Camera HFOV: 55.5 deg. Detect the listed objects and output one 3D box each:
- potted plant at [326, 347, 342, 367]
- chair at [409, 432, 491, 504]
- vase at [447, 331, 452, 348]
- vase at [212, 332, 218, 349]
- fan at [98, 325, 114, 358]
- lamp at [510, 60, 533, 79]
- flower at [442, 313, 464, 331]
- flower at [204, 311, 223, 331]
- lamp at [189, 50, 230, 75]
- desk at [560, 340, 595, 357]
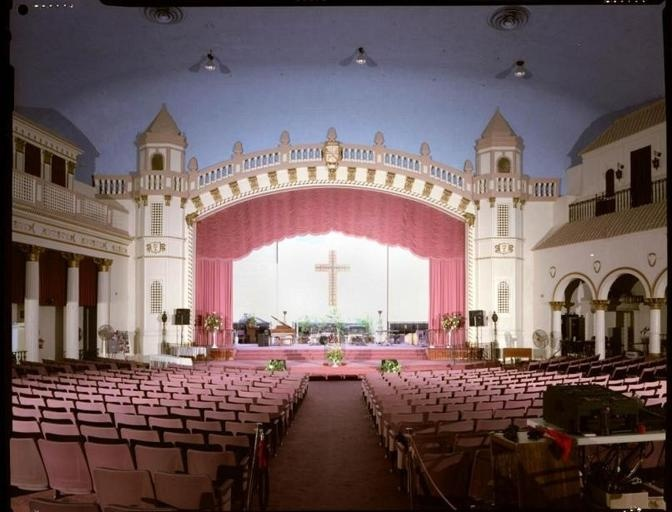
[{"bbox_3d":[-0.006,4.228,26.706,0.697,0.793,0.696,0,-3,-24],"label":"potted plant"},{"bbox_3d":[2.201,4.140,12.463,1.116,1.691,1.499,0,-5,6],"label":"chair"},{"bbox_3d":[5.740,4.144,32.285,0.225,0.725,0.398,-3,-9,10],"label":"vase"},{"bbox_3d":[-6.047,4.116,31.938,0.284,0.747,0.438,-8,-11,41],"label":"vase"},{"bbox_3d":[-10.008,3.632,27.725,0.682,1.400,2.462,2,-10,-20],"label":"fan"},{"bbox_3d":[9.149,-9.089,31.376,0.742,0.886,0.520,-1,-53,8],"label":"lamp"},{"bbox_3d":[5.757,3.239,31.463,0.858,0.765,0.930,-3,-3,34],"label":"flower"},{"bbox_3d":[-6.091,3.225,31.579,0.794,0.956,0.840,0,-11,-9],"label":"flower"},{"bbox_3d":[-6.368,-9.513,31.874,1.483,0.926,0.810,0,-7,-6],"label":"lamp"},{"bbox_3d":[10.788,4.069,28.465,1.440,0.715,1.340,-5,-10,19],"label":"desk"}]
